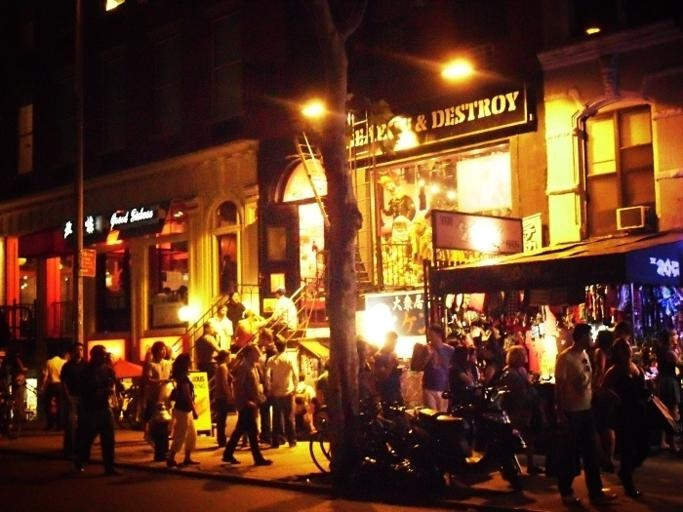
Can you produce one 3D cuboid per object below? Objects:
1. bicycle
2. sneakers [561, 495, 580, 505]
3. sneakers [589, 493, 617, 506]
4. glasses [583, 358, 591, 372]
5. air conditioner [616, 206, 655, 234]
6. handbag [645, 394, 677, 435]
[{"bbox_3d":[0.340,3.378,14.202,2.187,1.366,0.959,-16,-19,36],"label":"bicycle"},{"bbox_3d":[3.494,3.713,11.650,0.266,0.157,0.143,-3,-11,17],"label":"sneakers"},{"bbox_3d":[4.033,3.716,11.738,0.432,0.193,0.163,-2,-4,-5],"label":"sneakers"},{"bbox_3d":[3.885,1.718,12.089,0.064,0.189,0.136,-25,-12,41],"label":"glasses"},{"bbox_3d":[6.920,-0.862,17.974,0.545,0.749,1.000,0,0,-43],"label":"air conditioner"},{"bbox_3d":[5.229,2.618,12.478,0.161,0.661,0.681,-30,3,18],"label":"handbag"}]
